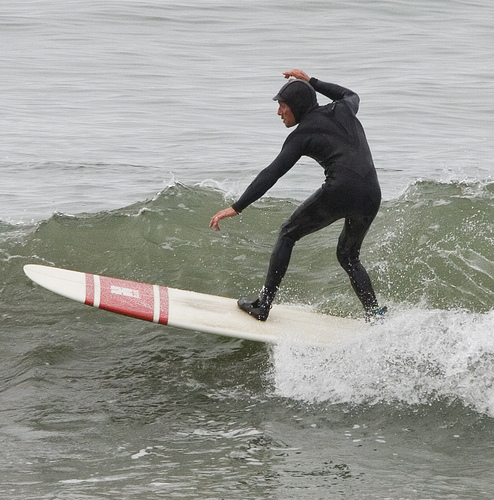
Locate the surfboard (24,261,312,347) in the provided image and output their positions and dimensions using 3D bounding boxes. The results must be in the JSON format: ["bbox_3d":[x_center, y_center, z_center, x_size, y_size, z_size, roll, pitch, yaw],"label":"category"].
[{"bbox_3d":[-0.762,0.556,7.386,2.565,0.176,0.452,10,23,4],"label":"surfboard"}]

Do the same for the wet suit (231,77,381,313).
[{"bbox_3d":[0.622,-0.447,6.554,1.406,2.018,0.703,9,13,0],"label":"wet suit"}]
